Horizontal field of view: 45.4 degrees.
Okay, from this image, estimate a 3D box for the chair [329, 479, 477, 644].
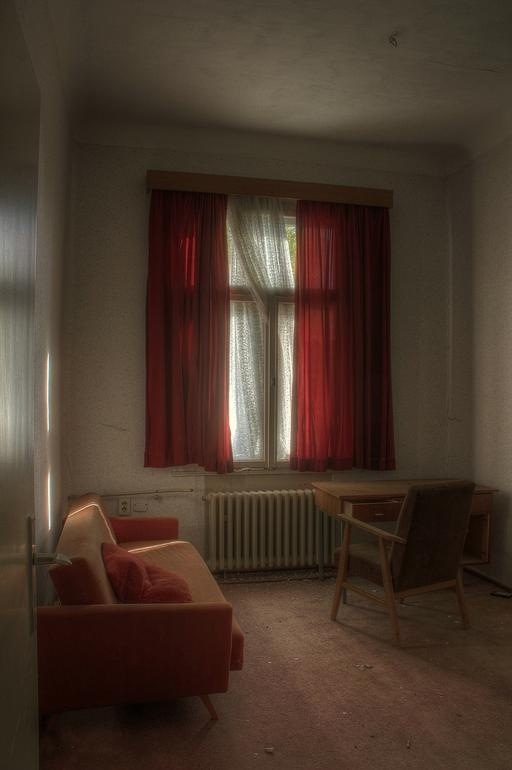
[{"bbox_3d":[0.671,0.737,2.757,0.471,0.752,0.518,0,4,-33],"label":"chair"}]
